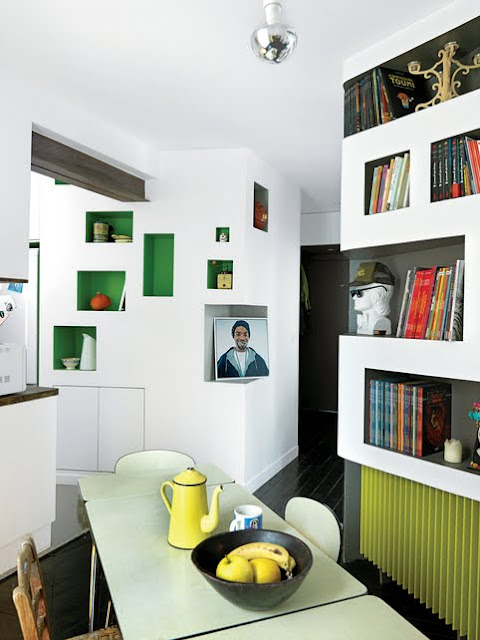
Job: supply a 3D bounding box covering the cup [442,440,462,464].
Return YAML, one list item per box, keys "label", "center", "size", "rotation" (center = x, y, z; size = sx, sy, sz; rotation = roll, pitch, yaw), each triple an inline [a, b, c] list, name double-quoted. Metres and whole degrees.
- label: "cup"
  center: [0.852, 0.538, 2.003]
  size: [0.063, 0.100, 0.074]
  rotation: [1, -6, -9]

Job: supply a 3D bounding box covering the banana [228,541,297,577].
- label: "banana"
  center: [0.053, 0.524, 1.091]
  size: [0.088, 0.032, 0.079]
  rotation: [-5, -13, -11]

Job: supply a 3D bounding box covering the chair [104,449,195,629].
- label: "chair"
  center: [-0.402, 0.848, 2.228]
  size: [0.296, 0.700, 0.408]
  rotation: [2, -5, -6]

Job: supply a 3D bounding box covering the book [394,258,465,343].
- label: "book"
  center: [0.812, -0.045, 2.064]
  size: [0.223, 0.406, 0.331]
  rotation: [2, -2, 40]

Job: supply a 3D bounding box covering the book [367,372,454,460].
- label: "book"
  center: [0.781, 0.411, 2.271]
  size: [0.248, 0.381, 0.324]
  rotation: [-1, -5, 38]

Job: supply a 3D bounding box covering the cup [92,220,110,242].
- label: "cup"
  center: [-1.133, -0.713, 3.985]
  size: [0.090, 0.211, 0.170]
  rotation: [0, -3, 13]

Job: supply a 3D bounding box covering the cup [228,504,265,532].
- label: "cup"
  center: [0.016, 0.520, 1.340]
  size: [0.048, 0.074, 0.086]
  rotation: [4, 11, 33]

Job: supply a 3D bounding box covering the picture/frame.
- label: "picture/frame"
  center: [-0.007, 0.248, 3.945]
  size: [0.381, 0.514, 0.030]
  rotation: [3, -8, -33]

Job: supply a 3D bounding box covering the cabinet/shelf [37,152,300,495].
- label: "cabinet/shelf"
  center: [-0.538, 0.042, 4.131]
  size: [2.209, 2.702, 1.035]
  rotation: [-1, -1, -4]

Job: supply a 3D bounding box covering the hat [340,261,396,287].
- label: "hat"
  center: [0.694, -0.230, 2.570]
  size: [0.175, 0.121, 0.154]
  rotation: [0, 2, 8]

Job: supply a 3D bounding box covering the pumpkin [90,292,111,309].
- label: "pumpkin"
  center: [-1.147, -0.150, 4.050]
  size: [0.118, 0.161, 0.130]
  rotation: [1, -2, -27]

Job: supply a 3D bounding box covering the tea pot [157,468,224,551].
- label: "tea pot"
  center: [-0.120, 0.504, 1.410]
  size: [0.198, 0.258, 0.137]
  rotation: [2, 3, 30]
